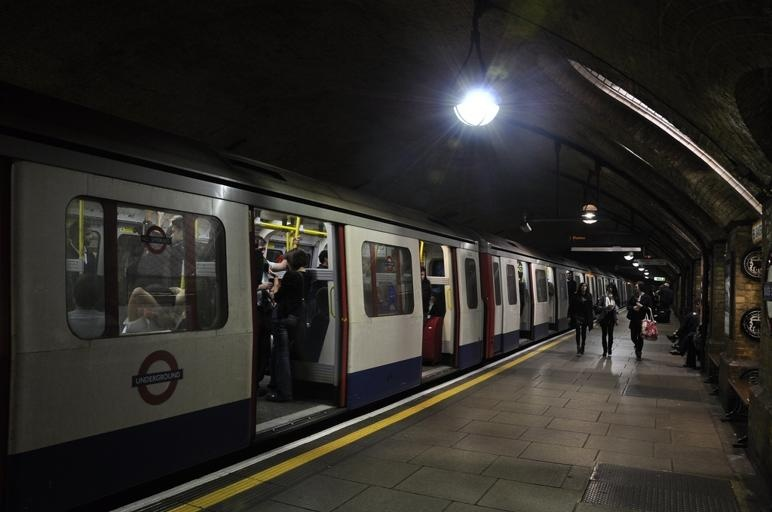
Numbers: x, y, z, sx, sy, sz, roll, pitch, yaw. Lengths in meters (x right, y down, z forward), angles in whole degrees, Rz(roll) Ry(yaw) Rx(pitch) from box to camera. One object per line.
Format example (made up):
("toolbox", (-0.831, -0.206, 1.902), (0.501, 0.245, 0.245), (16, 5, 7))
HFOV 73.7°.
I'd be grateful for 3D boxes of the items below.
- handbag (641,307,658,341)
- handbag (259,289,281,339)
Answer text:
("handbag", (7.082, 1.856, 13.916), (0.340, 0.910, 0.908), (2, 2, 26))
("handbag", (-1.981, 0.913, 8.791), (0.318, 1.043, 0.308), (-1, 8, -20))
